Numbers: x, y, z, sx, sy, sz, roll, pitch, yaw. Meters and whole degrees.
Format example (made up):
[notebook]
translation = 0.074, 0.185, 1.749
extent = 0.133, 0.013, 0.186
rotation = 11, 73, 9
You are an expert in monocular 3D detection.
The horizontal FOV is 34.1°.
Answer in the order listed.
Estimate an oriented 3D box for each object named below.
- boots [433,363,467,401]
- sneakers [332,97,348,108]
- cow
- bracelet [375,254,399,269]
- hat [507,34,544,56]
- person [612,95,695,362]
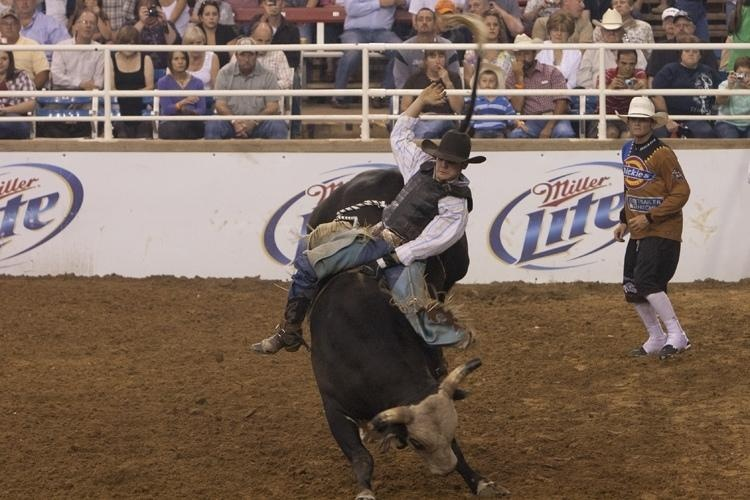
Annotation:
[boots]
translation = 0.981, 1.676, 15.550
extent = 0.357, 0.523, 0.671
rotation = -1, 11, 4
[sneakers]
translation = -0.698, -2.867, 23.974
extent = 0.232, 0.125, 0.426
rotation = 6, 13, -2
[cow]
translation = 0.254, 1.177, 15.864
extent = 2.204, 3.847, 2.280
rotation = -2, 12, -3
[bracelet]
translation = 0.142, 0.158, 15.639
extent = 0.280, 0.146, 0.100
rotation = -8, 1, 7
[hat]
translation = 2.674, -3.713, 21.989
extent = 0.518, 0.209, 0.593
rotation = -19, -4, 41
[person]
translation = 4.087, -0.331, 18.034
extent = 0.765, 3.765, 1.089
rotation = -8, 14, -27
